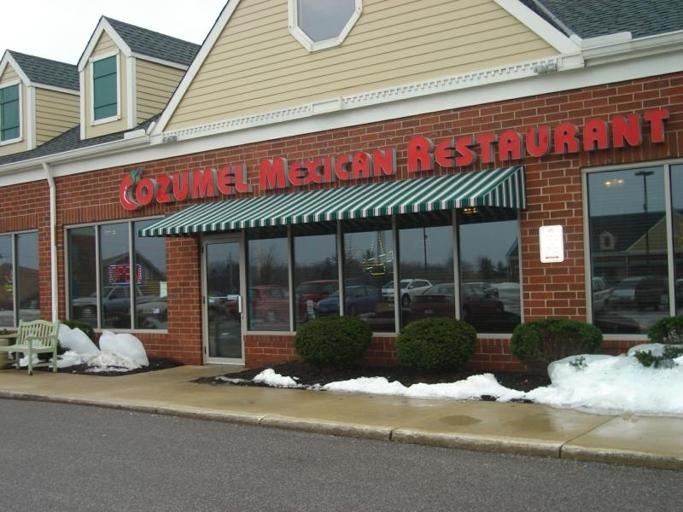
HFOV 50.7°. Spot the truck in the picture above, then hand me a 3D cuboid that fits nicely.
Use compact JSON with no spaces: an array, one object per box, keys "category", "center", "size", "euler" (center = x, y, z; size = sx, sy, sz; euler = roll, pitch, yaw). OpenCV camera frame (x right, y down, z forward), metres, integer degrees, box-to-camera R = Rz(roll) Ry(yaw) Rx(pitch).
[{"category":"truck","center":[-5.577,1.290,18.593],"size":[2.661,0.891,1.142],"euler":[2,-2,15]}]
